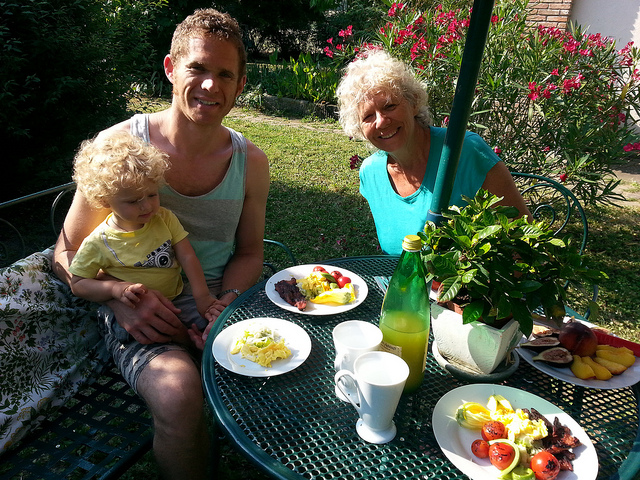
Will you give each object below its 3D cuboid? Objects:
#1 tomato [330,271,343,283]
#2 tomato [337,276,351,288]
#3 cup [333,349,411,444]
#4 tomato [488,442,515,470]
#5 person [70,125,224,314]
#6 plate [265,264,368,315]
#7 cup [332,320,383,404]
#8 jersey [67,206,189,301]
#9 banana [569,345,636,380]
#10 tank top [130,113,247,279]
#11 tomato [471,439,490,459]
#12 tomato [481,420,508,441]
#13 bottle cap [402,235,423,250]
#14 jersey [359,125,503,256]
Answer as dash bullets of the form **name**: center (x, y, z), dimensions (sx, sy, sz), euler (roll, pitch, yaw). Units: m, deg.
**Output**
- **tomato**: center (0.091, 0.189, 2.178), dimensions (0.040, 0.042, 0.042), euler (-23, 68, -10)
- **tomato**: center (0.122, 0.206, 2.138), dimensions (0.049, 0.052, 0.064), euler (4, 70, 19)
- **cup**: center (0.176, 0.518, 1.548), dimensions (0.315, 0.321, 0.206), euler (3, 26, 6)
- **tomato**: center (0.578, 0.684, 1.349), dimensions (0.070, 0.073, 0.081), euler (14, 67, 26)
- **person**: center (-0.984, -0.037, 2.358), dimensions (0.701, 1.084, 0.665), euler (-11, 31, -31)
- **plate**: center (-0.011, 0.234, 2.135), dimensions (0.495, 0.097, 0.440), euler (18, 29, 17)
- **cup**: center (0.124, 0.431, 1.588), dimensions (0.198, 0.284, 0.193), euler (2, 17, -1)
- **jersey**: center (-1.047, 0.089, 2.366), dimensions (0.586, 0.466, 0.243), euler (-3, 28, -19)
- **banana**: center (1.106, 0.480, 1.657), dimensions (0.145, 0.043, 0.154), euler (-11, 16, -4)
- **tank top**: center (-0.775, -0.268, 2.447), dimensions (0.726, 1.176, 0.613), euler (2, 19, -15)
- **tomato**: center (0.523, 0.682, 1.392), dimensions (0.052, 0.053, 0.057), euler (3, 70, -9)
- **tomato**: center (0.578, 0.634, 1.410), dimensions (0.062, 0.064, 0.066), euler (-6, 52, -1)
- **bottle cap**: center (0.322, 0.003, 1.454), dimensions (0.048, 0.027, 0.050), euler (16, 28, 19)
- **jersey**: center (0.628, -0.325, 2.818), dimensions (0.845, 0.864, 0.440), euler (29, 34, 35)
